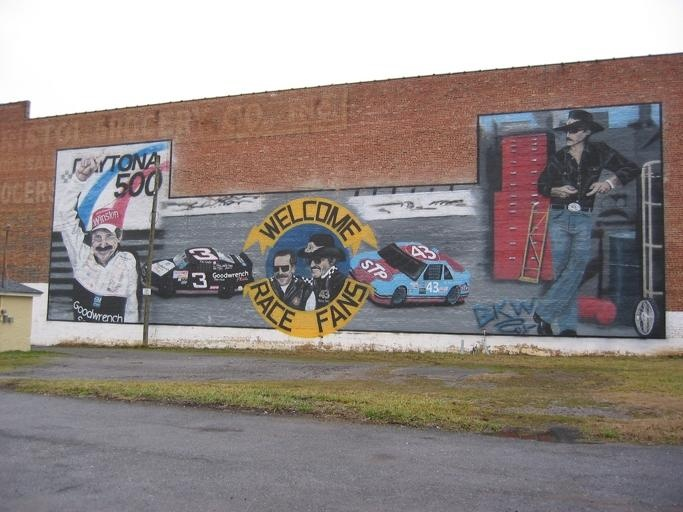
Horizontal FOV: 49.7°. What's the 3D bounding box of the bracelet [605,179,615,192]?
[{"bbox_3d":[12.259,-3.202,33.658,0.424,0.525,0.137,0,2,2],"label":"bracelet"}]
